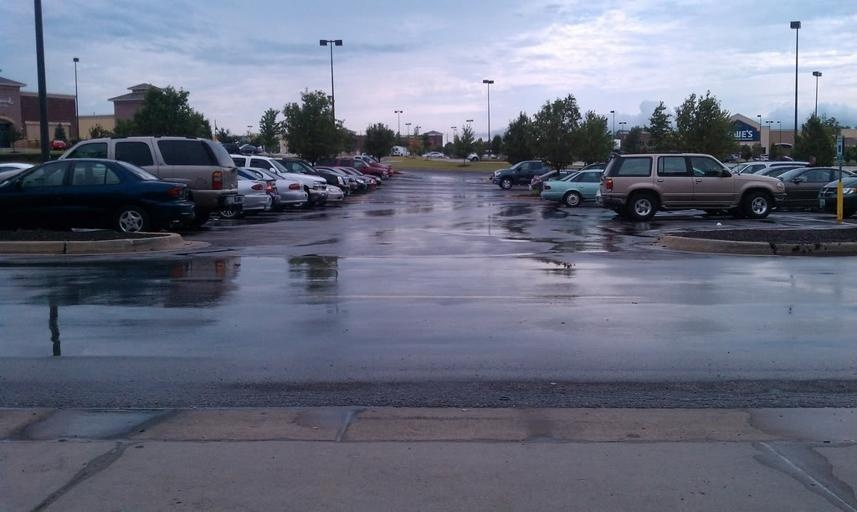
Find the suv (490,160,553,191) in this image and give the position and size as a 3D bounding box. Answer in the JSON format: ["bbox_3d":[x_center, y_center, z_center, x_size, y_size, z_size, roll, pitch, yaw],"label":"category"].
[{"bbox_3d":[6.481,-5.789,60.475,3.941,1.466,2.041,0,5,-3],"label":"suv"}]

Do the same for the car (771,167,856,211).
[{"bbox_3d":[14.271,-2.600,32.449,3.727,1.072,1.586,1,3,4],"label":"car"}]

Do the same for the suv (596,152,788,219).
[{"bbox_3d":[8.847,-2.430,29.921,5.622,1.824,2.484,-1,6,-2],"label":"suv"}]

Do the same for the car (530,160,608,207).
[{"bbox_3d":[6.366,-3.070,38.091,2.432,1.566,1.002,0,10,1],"label":"car"}]

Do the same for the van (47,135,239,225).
[{"bbox_3d":[-8.223,-2.444,25.320,5.079,1.792,2.250,2,2,1],"label":"van"}]
